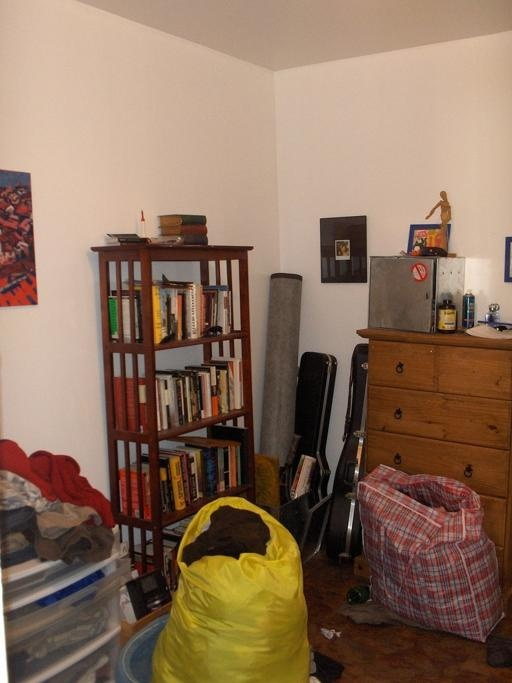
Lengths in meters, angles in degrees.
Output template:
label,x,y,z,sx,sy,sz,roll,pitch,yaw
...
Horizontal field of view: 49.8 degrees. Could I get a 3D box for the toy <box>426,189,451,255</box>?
label,x,y,z,sx,sy,sz,roll,pitch,yaw
toy,1.028,-0.673,3.112,0.149,0.355,0.383,-2,8,17

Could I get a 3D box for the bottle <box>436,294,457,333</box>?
label,x,y,z,sx,sy,sz,roll,pitch,yaw
bottle,1.015,-0.146,2.910,0.097,0.179,0.237,1,10,35

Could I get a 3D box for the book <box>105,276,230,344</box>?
label,x,y,z,sx,sy,sz,roll,pitch,yaw
book,-0.422,-0.159,2.744,0.306,0.327,0.665,0,9,30

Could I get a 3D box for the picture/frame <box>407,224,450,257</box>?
label,x,y,z,sx,sy,sz,roll,pitch,yaw
picture/frame,1.004,-0.583,3.185,0.270,0.279,0.014,-8,-29,32

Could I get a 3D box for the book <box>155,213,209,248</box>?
label,x,y,z,sx,sy,sz,roll,pitch,yaw
book,-0.360,-0.532,2.711,0.188,0.137,0.191,10,14,43

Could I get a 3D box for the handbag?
label,x,y,z,sx,sy,sz,roll,pitch,yaw
handbag,0.817,0.987,2.525,0.642,0.609,0.380,8,22,42

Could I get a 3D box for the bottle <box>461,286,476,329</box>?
label,x,y,z,sx,sy,sz,roll,pitch,yaw
bottle,1.173,-0.177,3.058,0.068,0.193,0.206,-2,9,21
